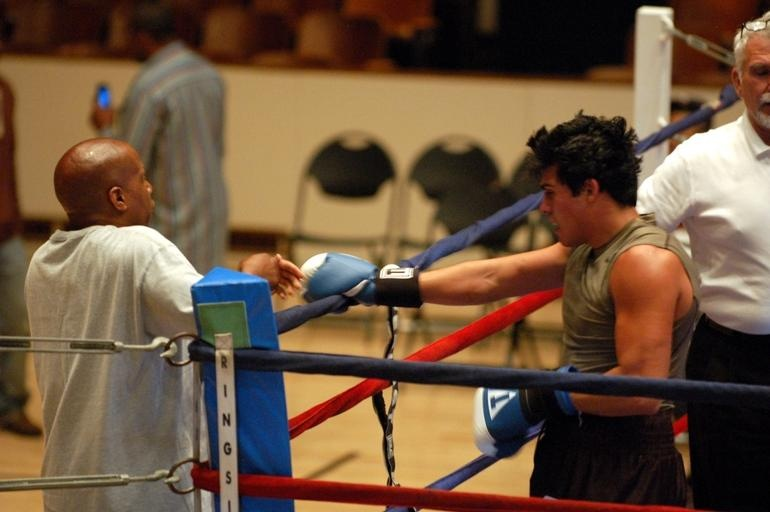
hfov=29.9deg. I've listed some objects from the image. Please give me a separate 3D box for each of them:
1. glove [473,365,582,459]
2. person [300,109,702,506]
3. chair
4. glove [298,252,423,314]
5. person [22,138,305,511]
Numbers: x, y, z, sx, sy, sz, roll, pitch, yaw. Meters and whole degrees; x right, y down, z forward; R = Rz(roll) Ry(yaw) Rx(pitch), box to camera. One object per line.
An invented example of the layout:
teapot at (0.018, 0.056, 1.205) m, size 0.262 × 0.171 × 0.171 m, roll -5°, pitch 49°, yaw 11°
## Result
glove at (0.564, 0.623, 5.882) m, size 0.619 × 0.253 × 0.253 m, roll 4°, pitch 29°, yaw -33°
person at (0.629, 0.219, 5.810) m, size 1.209 × 1.550 × 0.469 m, roll 0°, pitch 0°, yaw 23°
chair at (0.226, -0.091, 8.001) m, size 1.582 × 1.344 × 0.648 m, roll 0°, pitch 27°, yaw 1°
glove at (-0.050, 0.141, 5.924) m, size 0.586 × 0.209 × 0.331 m, roll -2°, pitch -14°, yaw 37°
person at (-0.931, 0.277, 5.594) m, size 0.891 × 1.449 × 0.423 m, roll 0°, pitch 0°, yaw -13°
